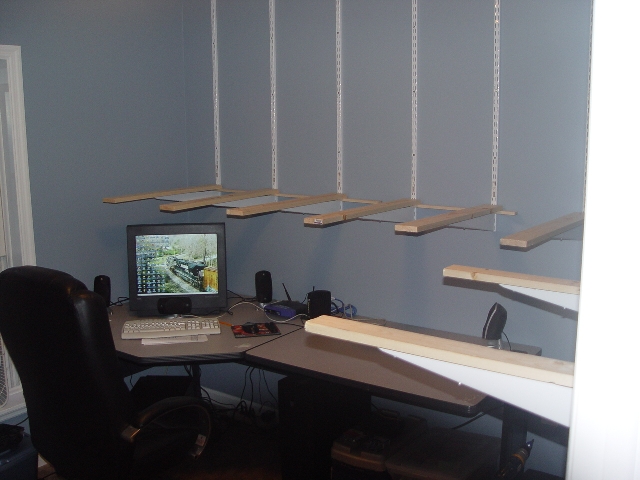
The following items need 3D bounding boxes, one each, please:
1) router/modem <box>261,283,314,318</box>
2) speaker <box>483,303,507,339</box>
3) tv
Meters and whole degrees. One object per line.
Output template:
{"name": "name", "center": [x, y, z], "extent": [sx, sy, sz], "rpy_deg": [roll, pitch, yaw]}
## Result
{"name": "router/modem", "center": [-0.170, 0.337, 2.856], "extent": [0.179, 0.125, 0.207], "rpy_deg": [-2, 8, -36]}
{"name": "speaker", "center": [0.708, 0.337, 2.118], "extent": [0.097, 0.164, 0.096], "rpy_deg": [12, 6, 16]}
{"name": "tv", "center": [-0.784, 0.168, 2.832], "extent": [0.503, 0.479, 0.054], "rpy_deg": [-1, 0, -6]}
